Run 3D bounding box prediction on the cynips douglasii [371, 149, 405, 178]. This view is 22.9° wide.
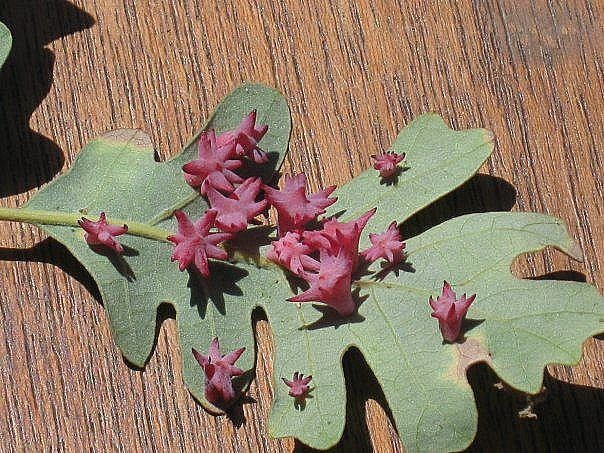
[{"bbox_3d":[0.126,-0.088,2.095,0.046,0.026,0.038,-22,75,-17],"label":"cynips douglasii"}]

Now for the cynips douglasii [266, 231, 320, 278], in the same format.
[{"bbox_3d":[-0.012,0.047,2.013,0.061,0.024,0.050,17,94,12],"label":"cynips douglasii"}]

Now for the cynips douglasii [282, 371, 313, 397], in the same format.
[{"bbox_3d":[-0.003,0.215,1.994,0.039,0.016,0.037,-13,73,-15],"label":"cynips douglasii"}]

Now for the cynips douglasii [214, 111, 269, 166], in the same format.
[{"bbox_3d":[-0.084,-0.124,2.076,0.066,0.036,0.072,-7,70,-7],"label":"cynips douglasii"}]

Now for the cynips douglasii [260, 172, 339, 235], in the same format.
[{"bbox_3d":[-0.005,-0.028,2.042,0.080,0.064,0.088,20,41,23],"label":"cynips douglasii"}]

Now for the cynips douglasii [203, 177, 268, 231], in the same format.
[{"bbox_3d":[-0.090,-0.026,2.043,0.077,0.029,0.066,-37,62,-12],"label":"cynips douglasii"}]

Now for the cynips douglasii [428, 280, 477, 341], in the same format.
[{"bbox_3d":[0.195,0.113,1.986,0.059,0.070,0.072,7,85,-10],"label":"cynips douglasii"}]

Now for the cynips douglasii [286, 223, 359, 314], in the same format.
[{"bbox_3d":[0.033,0.059,2.016,0.095,0.072,0.108,8,68,-7],"label":"cynips douglasii"}]

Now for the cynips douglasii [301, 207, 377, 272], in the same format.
[{"bbox_3d":[0.056,0.024,2.015,0.094,0.077,0.051,-14,106,-50],"label":"cynips douglasii"}]

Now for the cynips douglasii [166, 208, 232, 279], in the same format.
[{"bbox_3d":[-0.135,0.036,2.036,0.042,0.112,0.107,51,55,-28],"label":"cynips douglasii"}]
